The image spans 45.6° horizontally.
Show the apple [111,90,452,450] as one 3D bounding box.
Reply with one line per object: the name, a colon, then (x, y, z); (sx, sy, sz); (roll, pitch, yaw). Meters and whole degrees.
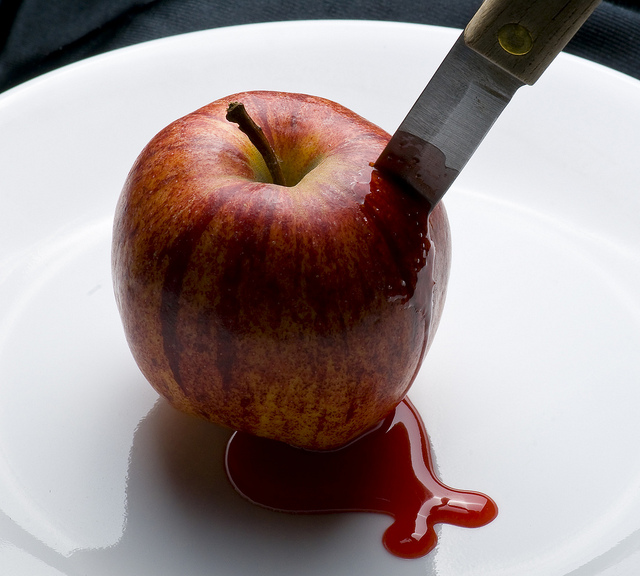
apple: (-0.058, -0.013, 1.035); (0.396, 0.434, 0.420); (-9, 42, -13)
